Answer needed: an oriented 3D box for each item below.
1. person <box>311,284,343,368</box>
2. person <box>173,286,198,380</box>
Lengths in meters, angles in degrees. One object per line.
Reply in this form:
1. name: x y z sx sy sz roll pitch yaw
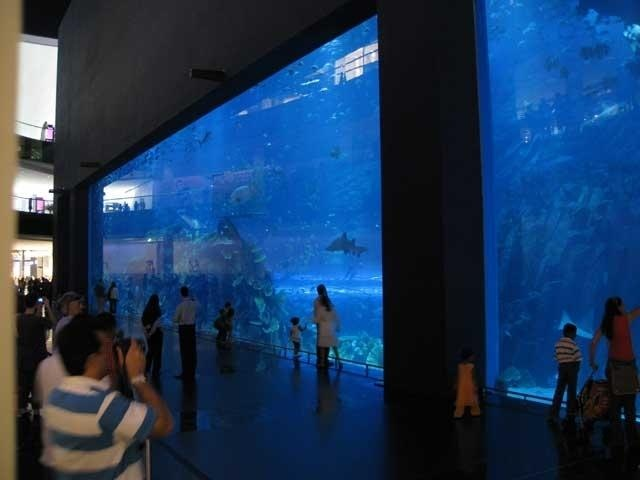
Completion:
1. person: 0.119 1.750 10.332 0.506 1.711 1.040 -1 0 0
2. person: -2.655 1.810 10.010 0.430 1.787 1.267 -1 0 -14
